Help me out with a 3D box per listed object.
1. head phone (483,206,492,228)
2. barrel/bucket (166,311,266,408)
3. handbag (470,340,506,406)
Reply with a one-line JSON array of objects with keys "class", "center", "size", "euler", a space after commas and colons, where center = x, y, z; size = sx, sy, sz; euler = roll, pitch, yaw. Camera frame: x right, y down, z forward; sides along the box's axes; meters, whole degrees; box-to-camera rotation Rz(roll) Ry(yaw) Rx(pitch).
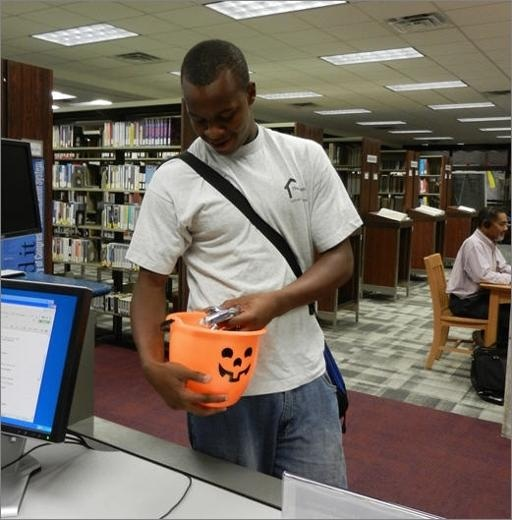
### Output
[{"class": "head phone", "center": [2.330, -0.425, 4.517], "size": [0.095, 0.198, 0.236], "euler": [4, 3, 23]}, {"class": "barrel/bucket", "center": [-0.069, 0.183, 0.853], "size": [0.191, 0.133, 0.182], "euler": [6, 0, 0]}, {"class": "handbag", "center": [1.910, 0.924, 3.683], "size": [0.295, 0.416, 0.251], "euler": [9, 10, 39]}]
